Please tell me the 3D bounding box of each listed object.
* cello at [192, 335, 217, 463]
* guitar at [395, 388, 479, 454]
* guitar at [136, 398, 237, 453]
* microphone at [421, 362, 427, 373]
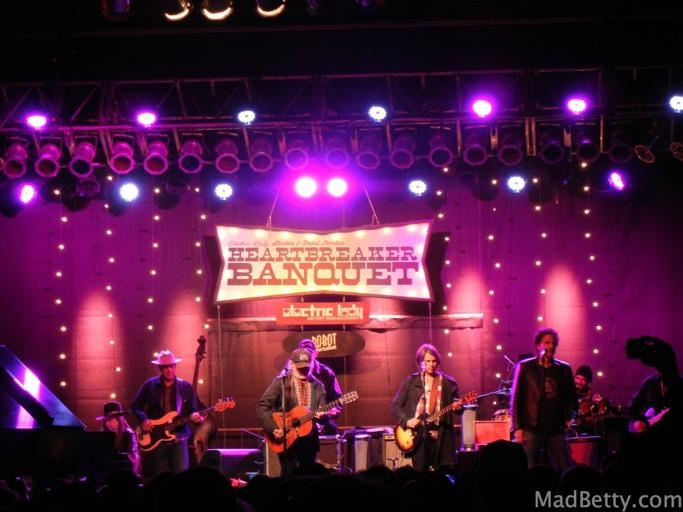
[{"bbox_3d":[-2.216,2.289,12.874,0.378,2.075,0.419,1,-2,-19],"label":"cello"},{"bbox_3d":[1.302,2.398,11.339,0.986,0.970,0.825,1,-3,-12],"label":"guitar"},{"bbox_3d":[-2.457,2.659,12.461,1.037,0.354,0.137,-14,-5,-11],"label":"guitar"},{"bbox_3d":[1.201,1.604,11.586,0.088,0.119,0.037,7,-4,-26],"label":"microphone"}]
